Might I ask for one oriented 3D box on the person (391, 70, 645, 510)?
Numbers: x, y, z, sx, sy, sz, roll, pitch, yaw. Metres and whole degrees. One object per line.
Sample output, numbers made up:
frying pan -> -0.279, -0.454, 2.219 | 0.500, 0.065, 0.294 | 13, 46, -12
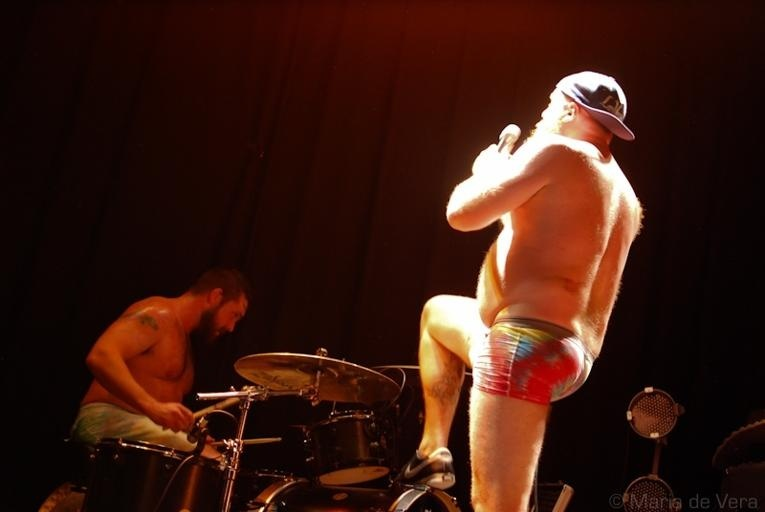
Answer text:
person -> 0.727, 0.162, 3.442 | 1.079, 2.231, 0.760 | -2, -21, 27

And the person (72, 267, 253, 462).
person -> -1.638, 0.824, 5.050 | 0.964, 1.580, 1.259 | 14, -17, -9

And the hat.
hat -> 1.138, -0.795, 3.538 | 0.420, 0.230, 0.298 | 37, 2, -5

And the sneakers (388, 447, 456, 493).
sneakers -> 0.230, 1.224, 3.745 | 0.152, 0.182, 0.414 | 16, -24, -20

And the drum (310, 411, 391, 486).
drum -> -0.225, 1.296, 4.214 | 0.465, 0.337, 0.464 | 2, -26, 1

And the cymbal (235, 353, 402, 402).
cymbal -> -0.412, 0.794, 4.340 | 0.588, 0.149, 0.630 | -2, -36, 26
